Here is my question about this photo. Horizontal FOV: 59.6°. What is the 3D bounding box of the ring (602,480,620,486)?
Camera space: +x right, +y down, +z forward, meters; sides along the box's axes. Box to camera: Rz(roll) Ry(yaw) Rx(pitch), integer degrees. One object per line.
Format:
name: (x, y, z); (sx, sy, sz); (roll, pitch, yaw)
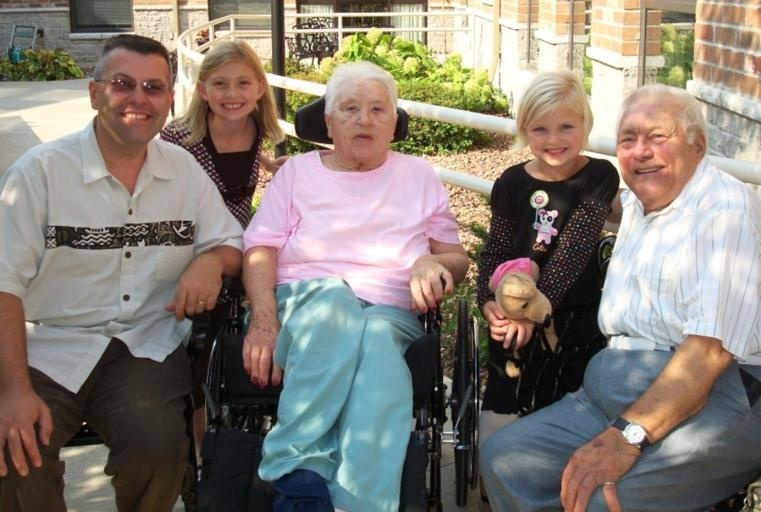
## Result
ring: (0.948, 0.928, 2.715); (0.064, 0.017, 0.014); (-3, 14, -24)

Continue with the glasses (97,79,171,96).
glasses: (-1.216, -0.819, 3.219); (0.301, 0.078, 0.068); (1, 13, -7)
